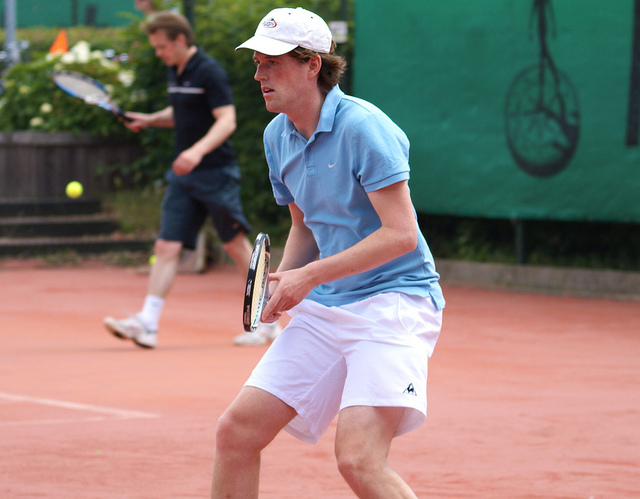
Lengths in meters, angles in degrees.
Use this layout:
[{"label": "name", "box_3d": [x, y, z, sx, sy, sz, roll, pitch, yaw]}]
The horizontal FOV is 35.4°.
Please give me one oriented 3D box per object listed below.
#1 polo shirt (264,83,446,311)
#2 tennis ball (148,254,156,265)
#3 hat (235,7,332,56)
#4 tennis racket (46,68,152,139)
[{"label": "polo shirt", "box_3d": [0.087, -0.220, 4.114, 0.775, 0.912, 0.425, 8, 13, 40]}, {"label": "tennis ball", "box_3d": [-1.437, 0.089, 8.719, 0.060, 0.087, 0.074, 7, 29, 7]}, {"label": "hat", "box_3d": [-0.106, -0.867, 4.052, 0.290, 0.154, 0.208, 4, 8, -8]}, {"label": "tennis racket", "box_3d": [-2.172, -1.438, 10.019, 1.430, 0.073, 0.576, 35, 4, 21]}]
